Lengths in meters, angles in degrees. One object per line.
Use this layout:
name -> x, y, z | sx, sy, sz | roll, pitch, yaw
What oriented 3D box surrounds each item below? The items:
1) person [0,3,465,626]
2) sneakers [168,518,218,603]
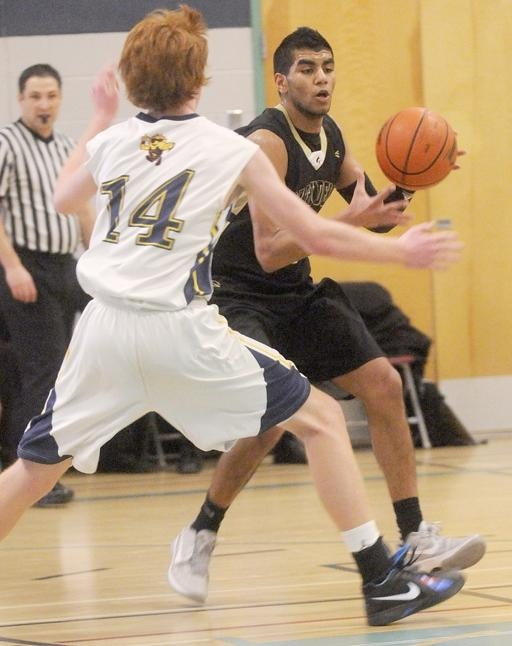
person -> -0.064, -0.046, 1.261 | 0.821, 1.237, 0.305 | -3, -9, -8
sneakers -> -0.156, 0.546, 1.578 | 0.072, 0.078, 0.193 | 24, 15, -16
